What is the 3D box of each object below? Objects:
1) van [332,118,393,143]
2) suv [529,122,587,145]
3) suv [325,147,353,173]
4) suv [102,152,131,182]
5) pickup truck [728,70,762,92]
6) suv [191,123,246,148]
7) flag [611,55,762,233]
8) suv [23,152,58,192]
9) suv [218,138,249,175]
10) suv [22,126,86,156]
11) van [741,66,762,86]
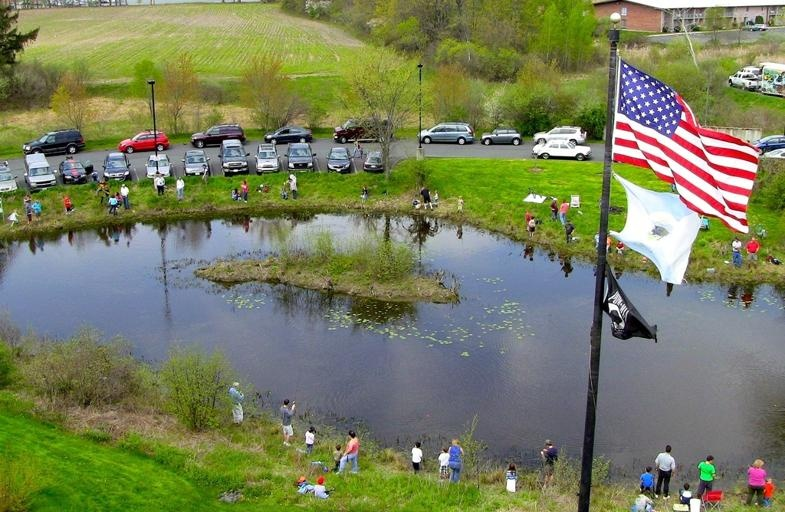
[{"bbox_3d":[-2.841,-10.907,83.667,4.491,1.987,2.496,1,17,0],"label":"van"},{"bbox_3d":[14.231,-10.205,82.229,3.974,1.768,1.897,3,22,5],"label":"suv"},{"bbox_3d":[-4.177,-7.529,78.067,2.047,1.512,2.188,-4,23,-3],"label":"suv"},{"bbox_3d":[-21.491,-6.829,76.408,1.911,1.843,2.369,-5,23,-8],"label":"suv"},{"bbox_3d":[34.735,-17.267,96.035,1.136,1.051,2.768,-8,27,-14],"label":"pickup truck"},{"bbox_3d":[-15.015,-10.030,84.173,4.118,1.980,2.129,0,21,-6],"label":"suv"},{"bbox_3d":[13.288,-5.199,44.839,6.141,7.534,2.259,4,21,13],"label":"flag"},{"bbox_3d":[-27.332,-6.230,75.408,1.679,1.526,3.631,-9,33,-27],"label":"suv"},{"bbox_3d":[-12.758,-7.922,78.452,1.488,1.419,3.341,-3,24,-11],"label":"suv"},{"bbox_3d":[-28.941,-9.573,83.416,4.731,2.369,2.304,-6,24,-22],"label":"suv"},{"bbox_3d":[35.411,-17.873,96.117,1.055,1.071,2.628,-4,28,-2],"label":"van"}]
